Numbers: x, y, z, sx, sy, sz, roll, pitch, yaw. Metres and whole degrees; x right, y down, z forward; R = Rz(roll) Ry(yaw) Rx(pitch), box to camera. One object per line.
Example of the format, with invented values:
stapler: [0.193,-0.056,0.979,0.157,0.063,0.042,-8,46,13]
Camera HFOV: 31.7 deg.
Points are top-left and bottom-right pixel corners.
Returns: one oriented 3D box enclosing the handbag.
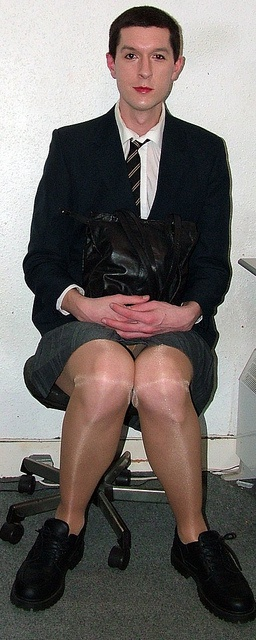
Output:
handbag: [0.027,-0.149,1.073,0.311,0.283,0.185,6,2,-8]

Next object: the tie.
tie: [0.028,-0.397,1.264,0.039,0.221,0.028,3,-14,-12]

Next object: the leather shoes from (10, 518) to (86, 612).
leather shoes: [-0.160,0.504,1.039,0.089,0.127,0.253,22,34,6]
